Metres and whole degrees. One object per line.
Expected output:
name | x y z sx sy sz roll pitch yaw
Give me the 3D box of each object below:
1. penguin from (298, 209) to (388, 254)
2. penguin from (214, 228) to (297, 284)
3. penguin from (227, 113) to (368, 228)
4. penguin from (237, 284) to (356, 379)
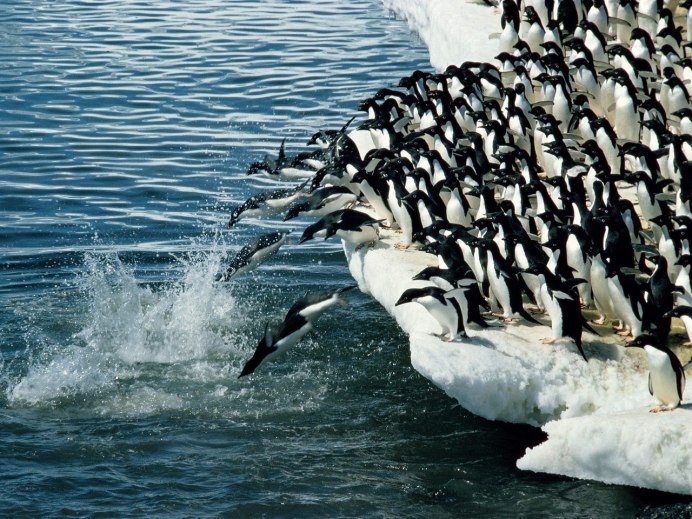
penguin | -0.046 -0.486 21.368 1.129 0.632 1.248 6 15 41
penguin | -1.437 -0.093 21.259 1.313 0.408 0.752 -30 -11 13
penguin | -1.235 -1.150 22.600 1.131 2.240 1.753 41 16 -3
penguin | -0.766 0.947 19.396 1.458 1.205 0.913 -1 11 -8
